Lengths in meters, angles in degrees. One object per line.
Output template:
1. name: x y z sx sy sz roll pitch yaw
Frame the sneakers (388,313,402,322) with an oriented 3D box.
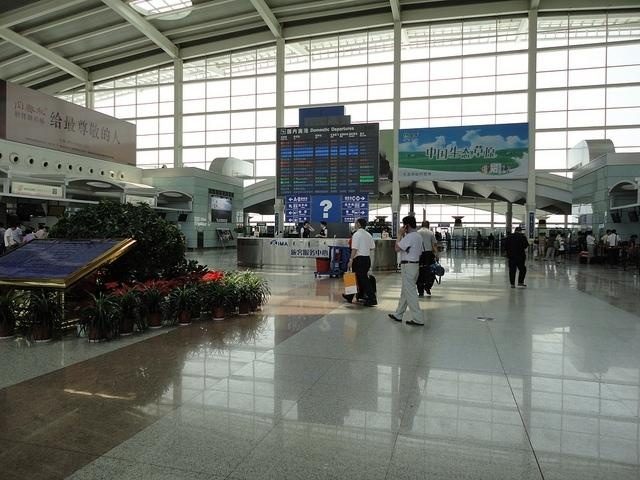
1. sneakers: 1.224 1.286 8.051 0.225 0.071 0.087 30 15 31

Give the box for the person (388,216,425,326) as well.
1. person: 1.456 0.488 8.137 0.555 1.748 1.219 2 7 9

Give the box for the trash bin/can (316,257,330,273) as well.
1. trash bin/can: 0.068 0.784 15.291 0.469 0.364 0.433 3 4 14

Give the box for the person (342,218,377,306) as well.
1. person: 0.811 0.436 9.504 0.623 1.701 0.890 1 7 3

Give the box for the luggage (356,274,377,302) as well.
1. luggage: 0.818 0.978 9.608 0.536 0.524 0.412 5 -3 3
